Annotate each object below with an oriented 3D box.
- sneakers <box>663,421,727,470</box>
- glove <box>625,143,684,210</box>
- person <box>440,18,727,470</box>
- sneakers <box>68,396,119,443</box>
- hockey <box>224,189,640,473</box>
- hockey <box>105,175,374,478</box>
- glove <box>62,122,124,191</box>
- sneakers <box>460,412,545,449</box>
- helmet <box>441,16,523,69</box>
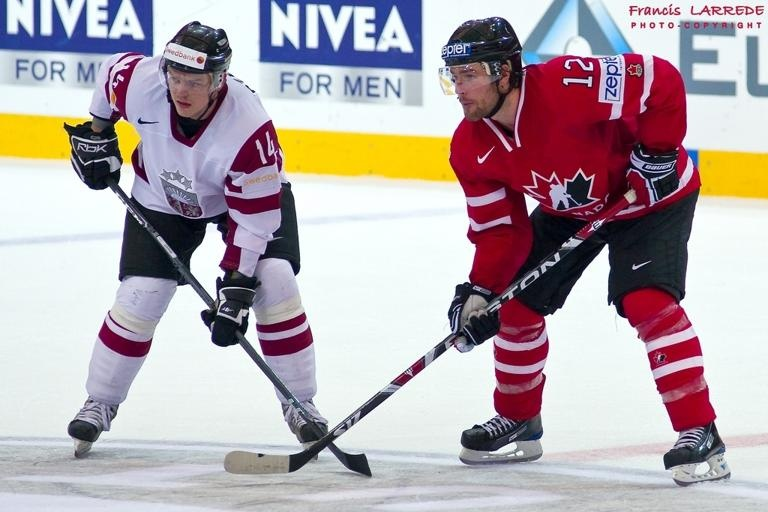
[{"bbox_3d":[1.011,0.621,2.939,0.271,0.120,0.095,-8,-5,-36],"label":"sneakers"},{"bbox_3d":[0.937,-0.270,2.996,0.117,0.130,0.154,8,-25,-26],"label":"glove"},{"bbox_3d":[0.683,-0.017,3.088,1.006,1.573,0.471,4,9,19],"label":"person"},{"bbox_3d":[-1.015,0.572,3.153,0.090,0.089,0.216,25,3,-2],"label":"sneakers"},{"bbox_3d":[0.214,0.339,3.583,1.864,0.255,0.194,-31,23,-4],"label":"hockey"},{"bbox_3d":[-0.577,0.314,3.503,0.160,1.525,0.226,-47,3,-37],"label":"hockey"},{"bbox_3d":[-1.094,-0.378,3.382,0.231,0.248,0.106,-11,5,-4],"label":"glove"},{"bbox_3d":[0.440,0.624,3.311,0.362,0.137,0.108,-1,13,-15],"label":"sneakers"},{"bbox_3d":[0.352,-0.694,3.060,0.278,0.233,0.232,-12,20,-27],"label":"helmet"}]
